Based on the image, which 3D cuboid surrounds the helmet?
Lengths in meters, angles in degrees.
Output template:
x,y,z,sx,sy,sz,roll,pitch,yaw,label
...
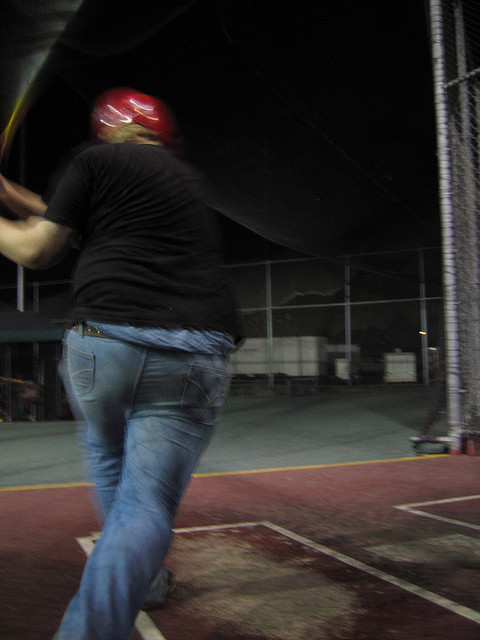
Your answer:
x,y,z,sx,sy,sz,roll,pitch,yaw,label
-0.316,-0.604,1.553,0.236,0.135,0.155,5,27,-13,helmet
